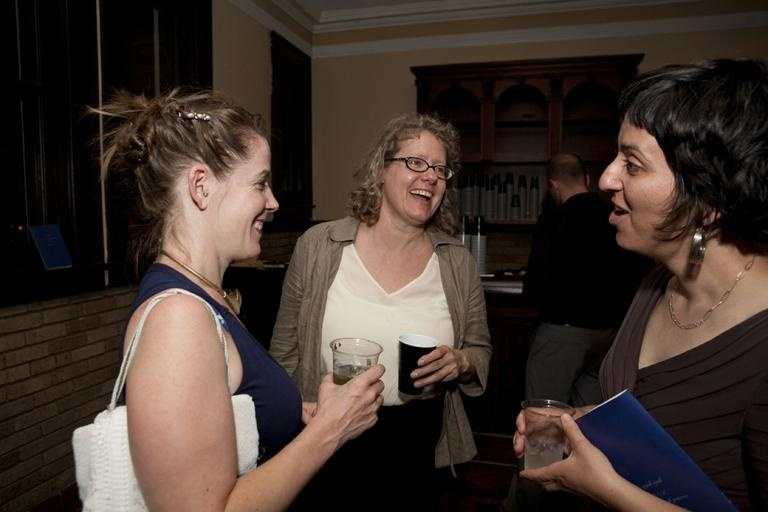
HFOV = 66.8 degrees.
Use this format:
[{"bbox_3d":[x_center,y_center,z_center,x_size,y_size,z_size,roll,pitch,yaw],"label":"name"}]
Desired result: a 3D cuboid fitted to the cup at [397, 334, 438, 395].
[{"bbox_3d":[0.109,0.441,2.399,0.211,0.248,0.218,5,-10,1],"label":"cup"}]
